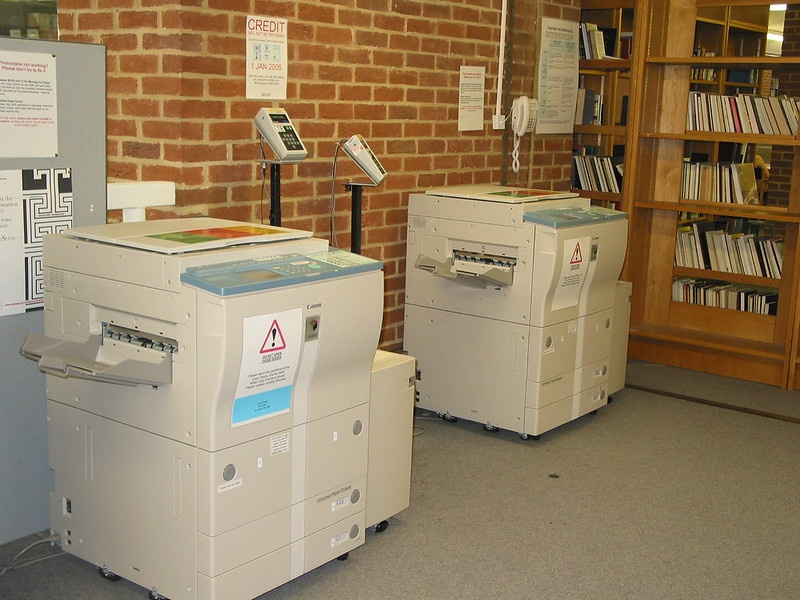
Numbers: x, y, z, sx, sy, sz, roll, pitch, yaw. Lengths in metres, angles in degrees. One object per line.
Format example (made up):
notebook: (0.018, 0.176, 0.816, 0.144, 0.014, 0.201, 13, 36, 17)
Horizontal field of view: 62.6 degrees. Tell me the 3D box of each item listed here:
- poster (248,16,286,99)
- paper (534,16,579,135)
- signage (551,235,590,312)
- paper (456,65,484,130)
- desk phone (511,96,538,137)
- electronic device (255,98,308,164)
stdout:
poster: (-0.645, -1.177, 3.205, 0.046, 0.388, 0.303, 8, 20, 29)
paper: (1.158, -1.691, 4.866, 0.102, 0.925, 0.829, 8, 15, 31)
signage: (0.895, -0.143, 3.572, 0.093, 0.339, 0.396, 12, 14, 32)
paper: (0.485, -1.340, 4.371, 0.068, 0.410, 0.284, 12, 22, 38)
desk phone: (0.873, -1.275, 4.579, 0.167, 0.274, 0.418, 3, 18, 16)
electronic device: (-0.553, -0.775, 3.059, 0.201, 0.232, 0.193, 12, 18, 34)
